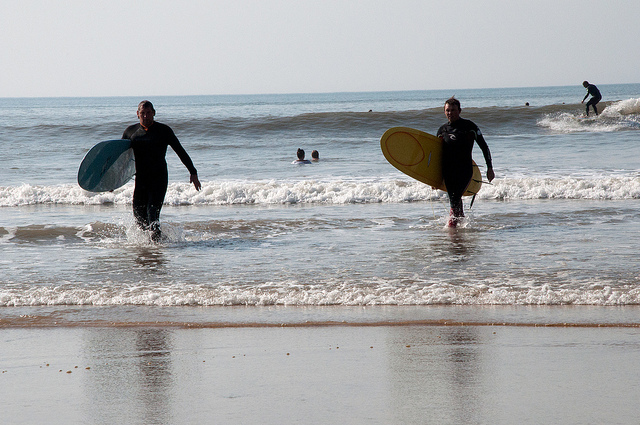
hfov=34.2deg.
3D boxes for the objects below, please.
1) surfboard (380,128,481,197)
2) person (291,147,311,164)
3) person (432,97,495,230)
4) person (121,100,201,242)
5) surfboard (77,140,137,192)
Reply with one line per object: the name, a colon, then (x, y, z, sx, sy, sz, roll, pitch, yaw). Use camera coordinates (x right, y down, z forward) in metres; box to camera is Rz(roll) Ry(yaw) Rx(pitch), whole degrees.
surfboard: (1.575, -0.782, 15.026, 0.311, 0.741, 2.329, -5, 21, -39)
person: (-0.443, -1.382, 24.914, 0.432, 0.501, 0.767, -3, -9, -2)
person: (2.052, -0.674, 14.722, 0.655, 1.726, 1.132, -3, -10, -2)
person: (-2.233, -0.636, 14.415, 0.956, 2.043, 1.452, -2, -10, -9)
surfboard: (-2.971, -0.644, 14.438, 0.584, 1.549, 0.174, 8, -53, -1)
